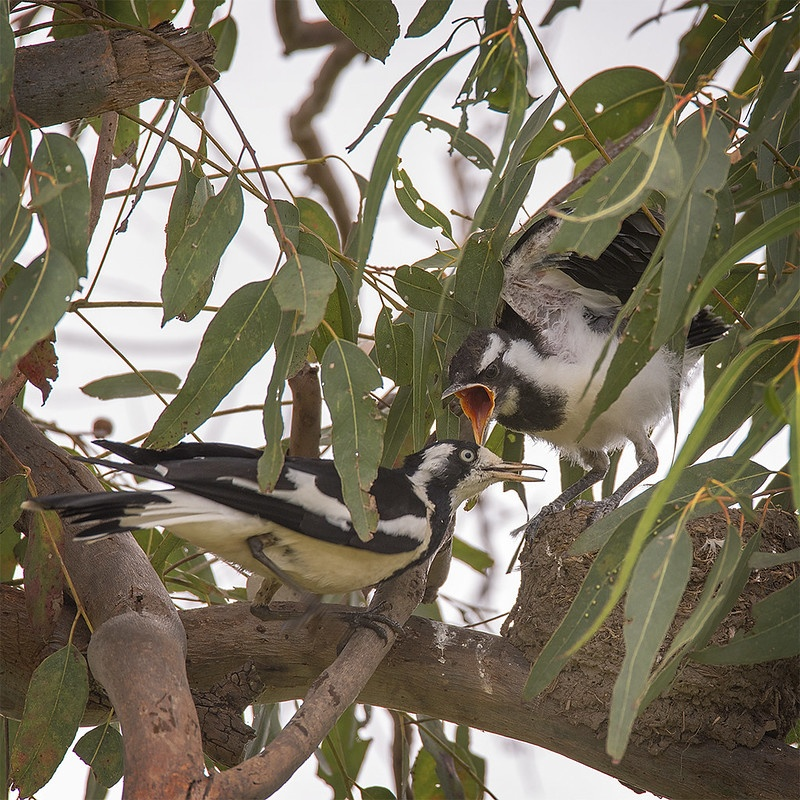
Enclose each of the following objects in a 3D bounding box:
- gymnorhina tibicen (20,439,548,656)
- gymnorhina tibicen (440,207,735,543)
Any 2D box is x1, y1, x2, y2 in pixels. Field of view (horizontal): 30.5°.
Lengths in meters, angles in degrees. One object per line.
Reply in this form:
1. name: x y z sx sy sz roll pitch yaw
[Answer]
1. gymnorhina tibicen: -0.205 0.219 2.966 0.956 0.443 0.306 14 -3 -23
2. gymnorhina tibicen: 0.468 -0.068 3.469 0.768 0.705 0.600 -10 -4 -33
